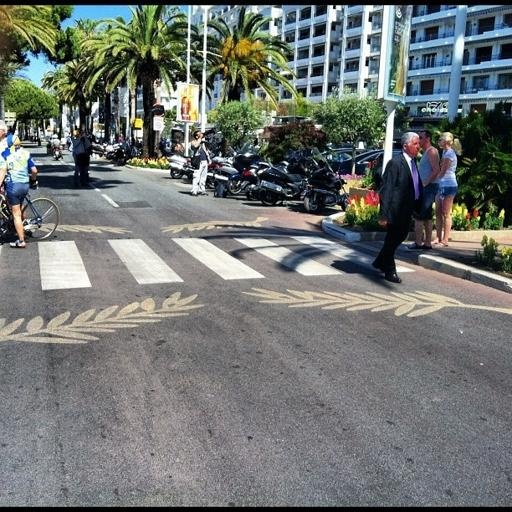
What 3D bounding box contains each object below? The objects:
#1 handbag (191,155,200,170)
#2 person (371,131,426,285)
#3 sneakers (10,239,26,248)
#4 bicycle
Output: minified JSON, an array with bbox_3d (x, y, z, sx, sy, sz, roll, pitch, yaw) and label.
[{"bbox_3d":[-2.239,-3.498,18.327,0.383,0.434,0.122,2,1,28],"label":"handbag"},{"bbox_3d":[2.160,-0.751,7.407,0.485,2.190,0.721,9,12,37],"label":"person"},{"bbox_3d":[-4.238,-0.236,8.691,0.280,0.146,0.119,11,16,13],"label":"sneakers"},{"bbox_3d":[-4.262,-0.704,9.337,1.184,0.845,0.602,-25,23,-29],"label":"bicycle"}]
